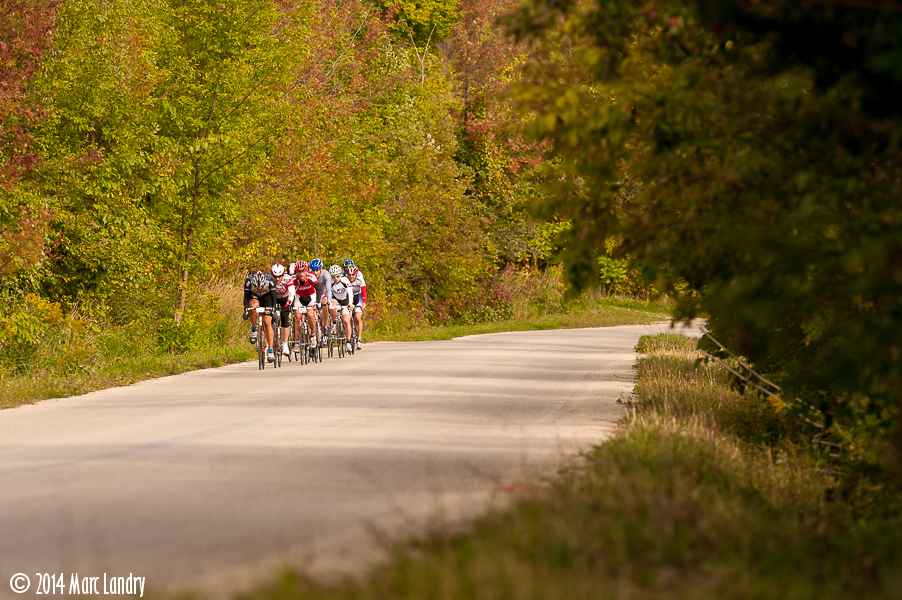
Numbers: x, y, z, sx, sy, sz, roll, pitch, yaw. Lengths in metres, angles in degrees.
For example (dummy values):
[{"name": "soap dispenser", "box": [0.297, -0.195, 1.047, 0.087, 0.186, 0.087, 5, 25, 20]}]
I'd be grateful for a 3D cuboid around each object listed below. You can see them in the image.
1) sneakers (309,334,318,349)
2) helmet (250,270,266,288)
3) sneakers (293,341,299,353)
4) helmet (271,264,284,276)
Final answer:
[{"name": "sneakers", "box": [-2.894, 0.873, 24.920, 0.203, 0.098, 0.380, 1, 13, 2]}, {"name": "helmet", "box": [-3.787, -0.381, 23.494, 0.230, 0.373, 0.123, 3, -7, 0]}, {"name": "sneakers", "box": [-3.256, 0.984, 24.902, 0.172, 0.262, 0.252, -1, 2, 3]}, {"name": "helmet", "box": [-3.389, -0.568, 23.204, 0.225, 0.226, 0.337, -3, 7, -9]}]
